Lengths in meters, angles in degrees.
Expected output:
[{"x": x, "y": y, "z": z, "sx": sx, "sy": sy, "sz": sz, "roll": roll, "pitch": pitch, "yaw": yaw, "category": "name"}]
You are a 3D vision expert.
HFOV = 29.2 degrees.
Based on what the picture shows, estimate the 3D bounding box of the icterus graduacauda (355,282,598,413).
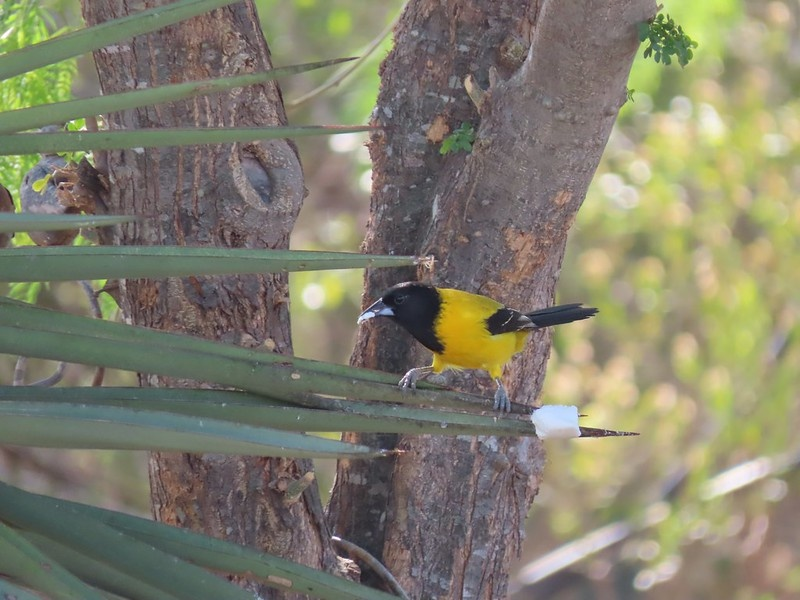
[{"x": 0.383, "y": 0.195, "z": 9.372, "sx": 1.619, "sy": 0.706, "sz": 0.527, "roll": -2, "pitch": 4, "yaw": -15, "category": "icterus graduacauda"}]
